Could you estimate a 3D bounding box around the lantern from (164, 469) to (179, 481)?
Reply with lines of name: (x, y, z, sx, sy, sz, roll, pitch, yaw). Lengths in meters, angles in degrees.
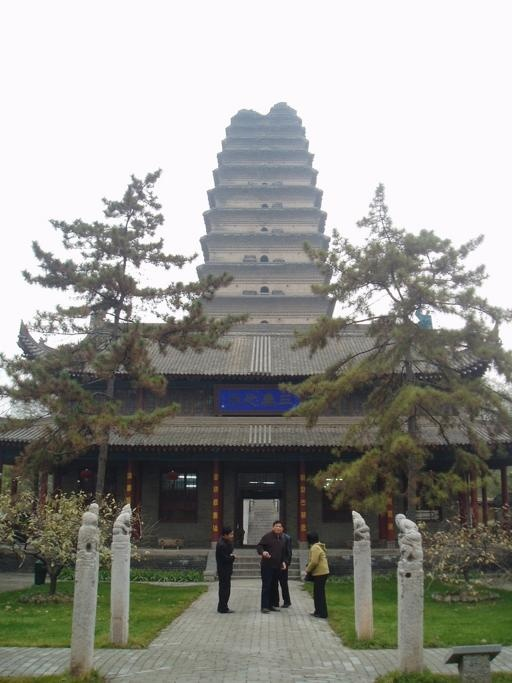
lantern: (-2.635, 4.115, 20.072, 0.314, 0.303, 0.313, -4, 6, 5)

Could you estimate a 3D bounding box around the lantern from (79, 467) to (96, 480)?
lantern: (-5.099, 3.942, 19.457, 0.392, 0.372, 0.448, 1, -6, 3)
